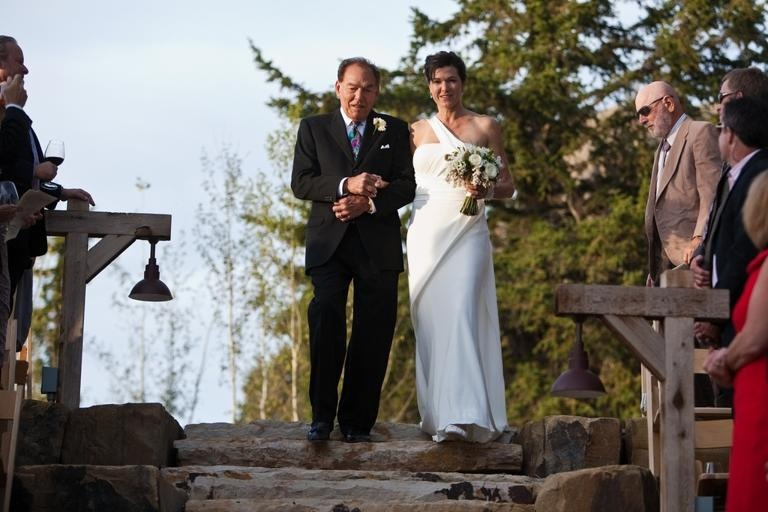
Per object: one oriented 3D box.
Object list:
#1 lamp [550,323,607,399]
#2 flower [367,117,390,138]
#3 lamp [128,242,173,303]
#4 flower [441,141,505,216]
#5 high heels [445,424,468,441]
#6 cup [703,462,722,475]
[{"bbox_3d":[2.331,1.226,22.435,0.630,0.881,0.643,8,-13,-31],"label":"lamp"},{"bbox_3d":[-0.066,-1.602,23.677,0.190,0.152,0.190,8,-20,-37],"label":"flower"},{"bbox_3d":[-3.048,0.168,24.629,0.579,0.795,0.641,-1,-8,14],"label":"lamp"},{"bbox_3d":[1.137,-0.942,23.784,0.736,0.820,0.748,9,9,-42],"label":"flower"},{"bbox_3d":[0.900,2.200,23.130,0.285,0.190,0.130,-1,-14,1],"label":"high heels"},{"bbox_3d":[3.901,2.549,22.263,0.198,0.208,0.205,0,-9,0],"label":"cup"}]
